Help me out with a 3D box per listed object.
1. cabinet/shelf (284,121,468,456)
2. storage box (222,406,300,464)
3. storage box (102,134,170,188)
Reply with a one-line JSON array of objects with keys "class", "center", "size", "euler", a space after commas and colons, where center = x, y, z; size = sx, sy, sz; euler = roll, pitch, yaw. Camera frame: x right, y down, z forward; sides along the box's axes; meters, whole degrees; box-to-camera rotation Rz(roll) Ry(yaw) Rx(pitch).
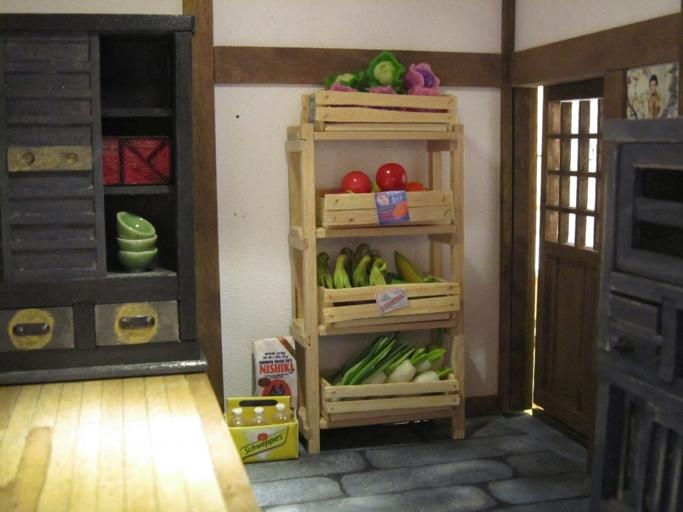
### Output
[{"class": "cabinet/shelf", "center": [0.219, 0.179, 3.463], "size": [1.069, 1.905, 0.456], "euler": [-1, 9, -9]}, {"class": "storage box", "center": [-0.468, 0.984, 3.301], "size": [0.413, 0.272, 0.225], "euler": [-1, 5, -13]}, {"class": "storage box", "center": [-0.919, -0.430, 2.596], "size": [0.379, 0.250, 0.208], "euler": [0, 4, -11]}]
